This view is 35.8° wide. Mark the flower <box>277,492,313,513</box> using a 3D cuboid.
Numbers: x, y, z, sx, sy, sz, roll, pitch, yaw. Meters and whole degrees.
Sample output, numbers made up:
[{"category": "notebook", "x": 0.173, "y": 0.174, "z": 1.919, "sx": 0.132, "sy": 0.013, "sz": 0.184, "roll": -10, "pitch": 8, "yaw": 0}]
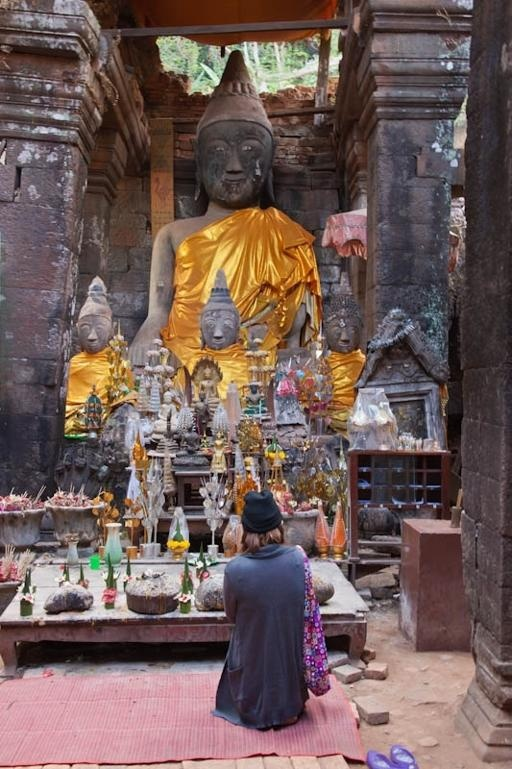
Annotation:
[{"category": "flower", "x": 0.203, "y": 0.674, "z": 4.660, "sx": 0.125, "sy": 0.070, "sz": 0.176, "roll": -1, "pitch": -2, "yaw": 39}]

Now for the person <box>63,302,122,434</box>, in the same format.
[{"category": "person", "x": -1.376, "y": -0.164, "z": 6.612, "sx": 0.357, "sy": 1.266, "sz": 1.181, "roll": 1, "pitch": -5, "yaw": -10}]

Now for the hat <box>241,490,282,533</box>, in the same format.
[{"category": "hat", "x": 0.015, "y": 0.417, "z": 2.693, "sx": 0.099, "sy": 0.086, "sz": 0.144, "roll": -5, "pitch": 11, "yaw": -3}]

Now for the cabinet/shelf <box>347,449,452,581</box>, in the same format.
[{"category": "cabinet/shelf", "x": 0.842, "y": 0.788, "z": 4.823, "sx": 0.594, "sy": 0.767, "sz": 0.644, "roll": -1, "pitch": -5, "yaw": 8}]

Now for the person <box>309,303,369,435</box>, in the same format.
[{"category": "person", "x": 0.727, "y": -0.161, "z": 6.677, "sx": 0.327, "sy": 1.183, "sz": 0.438, "roll": -1, "pitch": -5, "yaw": 8}]

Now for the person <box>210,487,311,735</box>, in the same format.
[{"category": "person", "x": 0.011, "y": 0.777, "z": 2.729, "sx": 0.316, "sy": 0.813, "sz": 0.276, "roll": 0, "pitch": -5, "yaw": 0}]
